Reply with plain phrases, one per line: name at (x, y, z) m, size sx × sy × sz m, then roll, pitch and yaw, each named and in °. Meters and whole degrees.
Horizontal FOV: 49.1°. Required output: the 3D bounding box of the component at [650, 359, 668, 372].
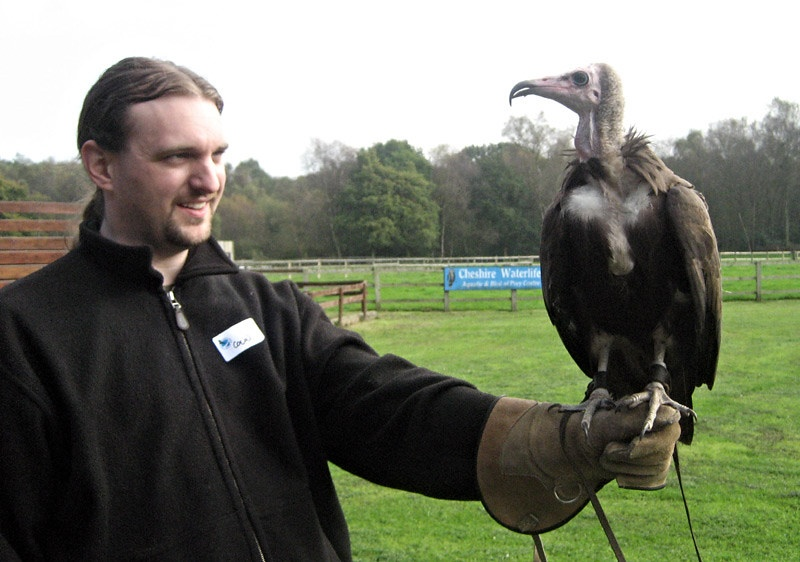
component at (1.469, 0.480, 4.900) m, size 0.082 × 0.060 × 0.083 m, roll 0°, pitch -4°, yaw 9°
